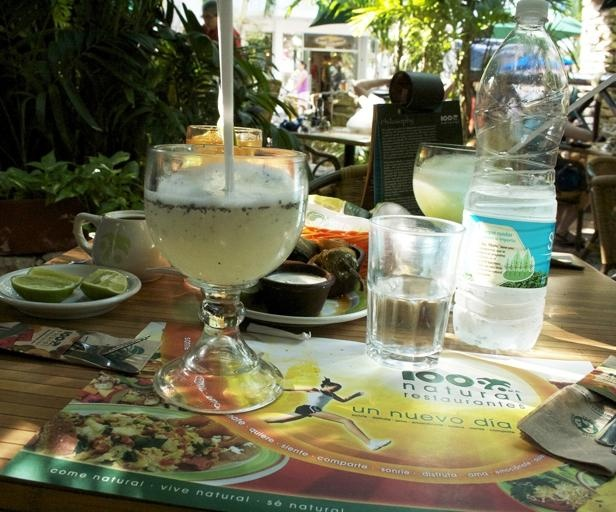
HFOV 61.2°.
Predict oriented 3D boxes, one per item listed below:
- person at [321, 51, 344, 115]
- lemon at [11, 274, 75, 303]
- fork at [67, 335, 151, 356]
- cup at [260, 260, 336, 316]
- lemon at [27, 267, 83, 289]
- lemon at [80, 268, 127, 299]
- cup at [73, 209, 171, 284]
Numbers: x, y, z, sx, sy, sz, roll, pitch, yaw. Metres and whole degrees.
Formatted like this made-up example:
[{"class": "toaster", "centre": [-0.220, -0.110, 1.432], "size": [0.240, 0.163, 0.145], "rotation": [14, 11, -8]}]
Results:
[{"class": "person", "centre": [0.350, -2.480, 7.645], "size": [0.390, 1.010, 0.295], "rotation": [0, 7, 9]}, {"class": "lemon", "centre": [-0.398, 0.046, 0.769], "size": [0.060, 0.019, 0.058], "rotation": [12, 11, 16]}, {"class": "fork", "centre": [-0.265, 0.116, 0.679], "size": [0.130, 0.016, 0.022], "rotation": [0, 27, 6]}, {"class": "cup", "centre": [-0.014, 0.038, 0.783], "size": [0.107, 0.037, 0.096], "rotation": [-6, 14, -30]}, {"class": "lemon", "centre": [-0.394, 0.031, 0.811], "size": [0.071, 0.015, 0.038], "rotation": [5, 8, 1]}, {"class": "lemon", "centre": [-0.315, 0.040, 0.800], "size": [0.057, 0.019, 0.055], "rotation": [19, 26, 13]}, {"class": "cup", "centre": [-0.332, -0.022, 0.963], "size": [0.198, 0.092, 0.121], "rotation": [4, 18, 5]}]
